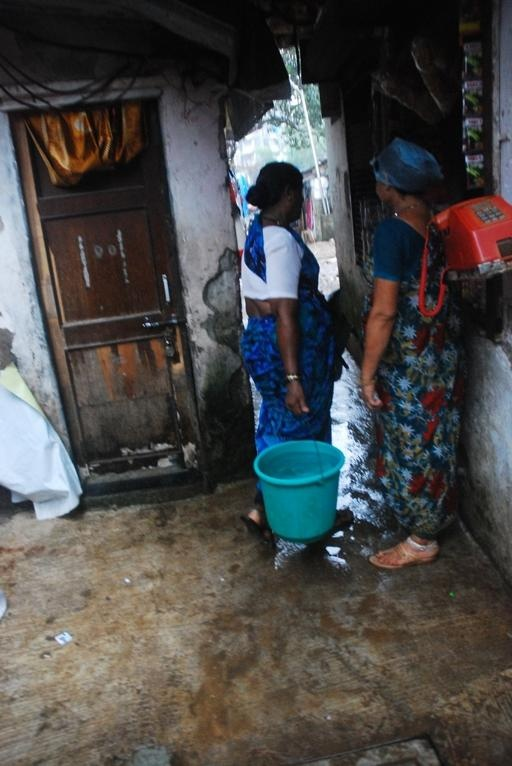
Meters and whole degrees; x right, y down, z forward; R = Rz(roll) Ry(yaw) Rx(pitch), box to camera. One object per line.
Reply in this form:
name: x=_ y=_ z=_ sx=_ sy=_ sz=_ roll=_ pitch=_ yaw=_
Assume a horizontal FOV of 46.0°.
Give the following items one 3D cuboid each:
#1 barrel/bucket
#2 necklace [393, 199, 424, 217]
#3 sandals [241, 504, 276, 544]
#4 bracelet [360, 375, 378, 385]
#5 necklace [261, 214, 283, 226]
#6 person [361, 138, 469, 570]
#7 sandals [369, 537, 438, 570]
barrel/bucket: x=0.190 y=0.388 z=2.349 sx=0.369 sy=0.316 sz=0.395 roll=-2 pitch=14 yaw=1
necklace: x=0.555 y=-0.624 z=2.178 sx=0.066 sy=0.059 sz=0.075 roll=-22 pitch=10 yaw=-27
sandals: x=-0.004 y=0.661 z=2.851 sx=0.085 sy=0.264 sz=0.103 roll=-8 pitch=25 yaw=38
bracelet: x=0.424 y=-0.023 z=2.296 sx=0.038 sy=0.041 sz=0.041 roll=-5 pitch=22 yaw=20
necklace: x=0.064 y=-0.667 z=2.452 sx=0.054 sy=0.028 sz=0.070 roll=7 pitch=25 yaw=-10
person: x=0.569 y=-0.039 z=2.328 sx=0.419 sy=1.688 sz=0.414 roll=-3 pitch=23 yaw=22
sandals: x=0.627 y=0.689 z=2.603 sx=0.316 sy=0.198 sz=0.116 roll=-2 pitch=23 yaw=11
